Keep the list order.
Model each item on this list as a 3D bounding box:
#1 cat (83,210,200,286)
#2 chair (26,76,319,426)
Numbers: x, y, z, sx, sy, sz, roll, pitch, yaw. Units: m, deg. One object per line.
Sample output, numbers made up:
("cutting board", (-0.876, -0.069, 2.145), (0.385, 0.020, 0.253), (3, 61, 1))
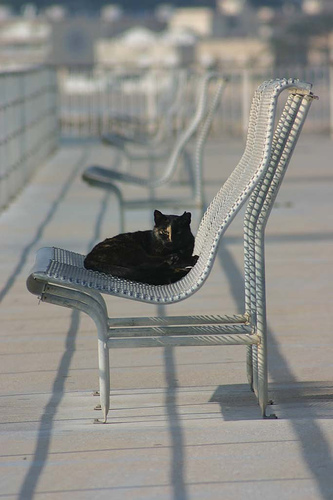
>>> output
("cat", (-0.102, 0.002, 4.094), (0.482, 0.291, 0.327), (-4, -9, 21))
("chair", (-0.022, 0.005, 3.923), (1.030, 1.268, 0.758), (1, 3, 15))
